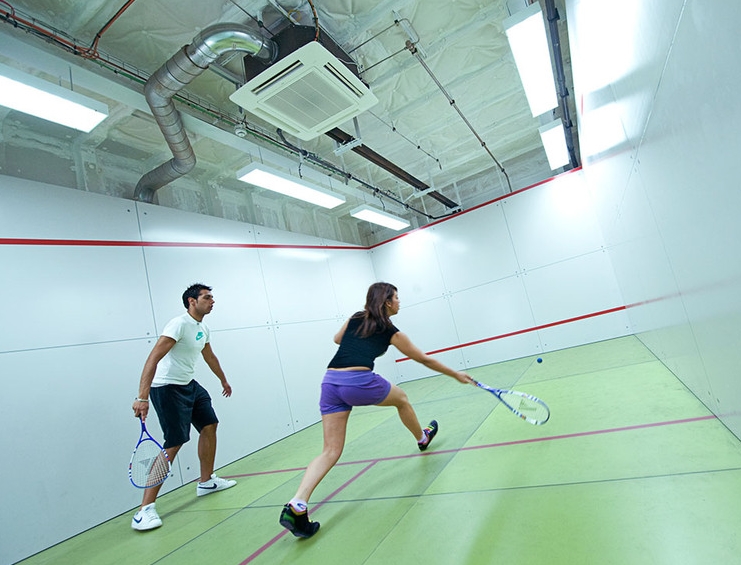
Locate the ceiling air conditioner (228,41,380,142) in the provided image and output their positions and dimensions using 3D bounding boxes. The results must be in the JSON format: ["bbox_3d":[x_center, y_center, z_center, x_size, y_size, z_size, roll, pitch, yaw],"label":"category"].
[{"bbox_3d":[-0.788,-2.284,5.258,1.275,0.272,1.228,-15,-7,27],"label":"ceiling air conditioner"}]

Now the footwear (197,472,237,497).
[{"bbox_3d":[-1.716,2.240,4.838,0.539,0.193,0.170,2,-4,-26],"label":"footwear"}]

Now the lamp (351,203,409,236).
[{"bbox_3d":[0.283,-1.478,9.818,0.488,0.155,1.725,-24,-21,34],"label":"lamp"}]

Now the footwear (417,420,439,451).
[{"bbox_3d":[0.614,1.577,4.452,0.126,0.141,0.356,-2,20,24],"label":"footwear"}]

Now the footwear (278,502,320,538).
[{"bbox_3d":[-0.487,1.773,3.189,0.162,0.185,0.434,-28,-52,32],"label":"footwear"}]

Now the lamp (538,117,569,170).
[{"bbox_3d":[3.617,-2.767,8.454,0.368,0.170,0.857,-20,-31,20],"label":"lamp"}]

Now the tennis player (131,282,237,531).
[{"bbox_3d":[-1.920,1.159,4.482,0.948,2.382,1.103,8,-1,35],"label":"tennis player"}]
